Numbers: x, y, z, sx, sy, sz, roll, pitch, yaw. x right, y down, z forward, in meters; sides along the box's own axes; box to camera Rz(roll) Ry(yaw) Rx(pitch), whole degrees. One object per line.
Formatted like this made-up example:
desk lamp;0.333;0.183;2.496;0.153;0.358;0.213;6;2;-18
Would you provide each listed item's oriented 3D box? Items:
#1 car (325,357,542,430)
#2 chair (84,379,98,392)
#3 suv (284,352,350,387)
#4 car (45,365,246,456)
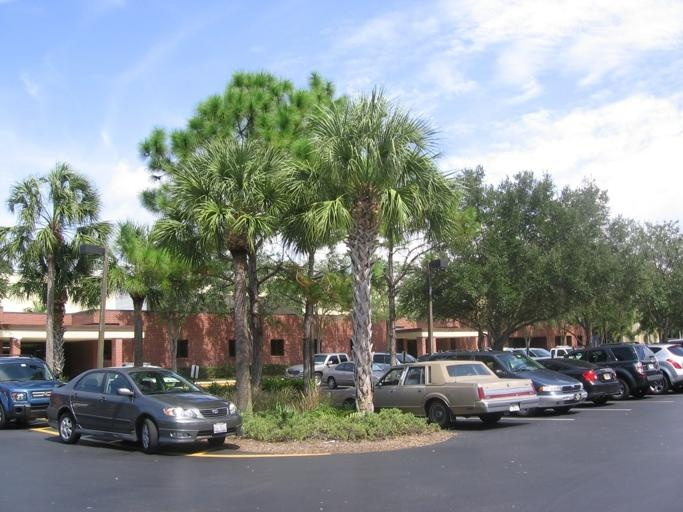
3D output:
car;3.034;3.854;19.535;4.340;1.878;1.536;-11;-14;29
chair;-6.393;3.297;17.702;0.293;0.352;0.312;0;-14;4
suv;-1.404;6.506;40.330;3.271;1.490;1.764;10;-15;-44
car;-5.044;3.780;17.267;4.844;2.149;1.691;-11;-14;28
